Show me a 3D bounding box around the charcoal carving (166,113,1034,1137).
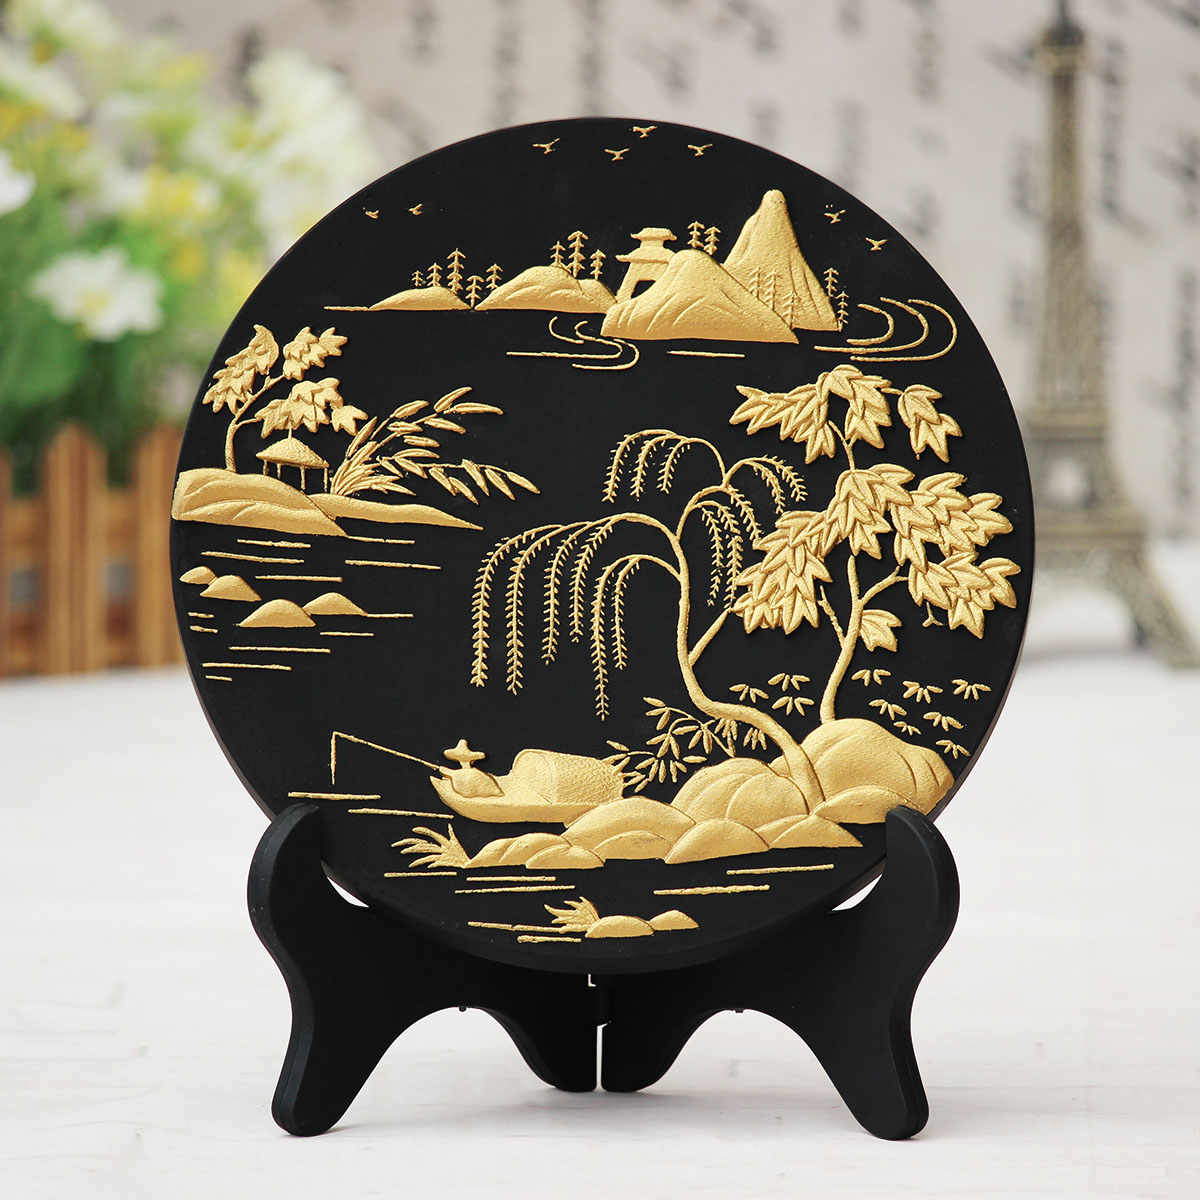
[{"bbox_3d":[-0.017,0.050,3.317,1.505,1.462,0.118,1,0,-35],"label":"charcoal carving"}]
